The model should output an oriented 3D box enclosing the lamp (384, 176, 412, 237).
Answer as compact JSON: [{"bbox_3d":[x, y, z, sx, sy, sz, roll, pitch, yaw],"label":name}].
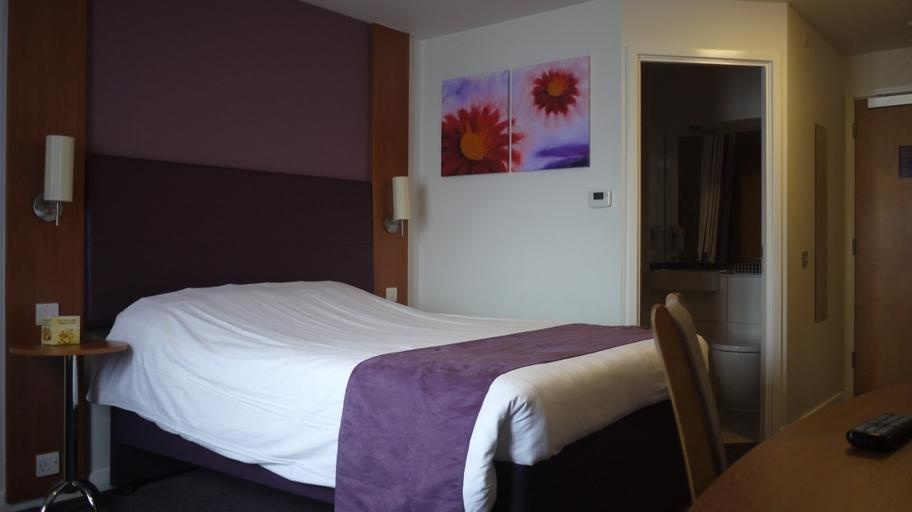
[{"bbox_3d":[-0.571,-0.495,6.351,0.266,0.569,0.185,3,8,27],"label":"lamp"}]

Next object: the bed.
[{"bbox_3d":[-0.715,0.177,4.770,3.166,1.937,3.185,0,-1,34],"label":"bed"}]

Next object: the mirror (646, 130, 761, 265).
[{"bbox_3d":[2.589,-0.589,6.591,1.416,1.596,0.157,1,1,6],"label":"mirror"}]

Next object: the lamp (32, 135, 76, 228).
[{"bbox_3d":[-2.985,-0.560,4.712,0.294,0.652,0.158,-4,5,-34],"label":"lamp"}]
